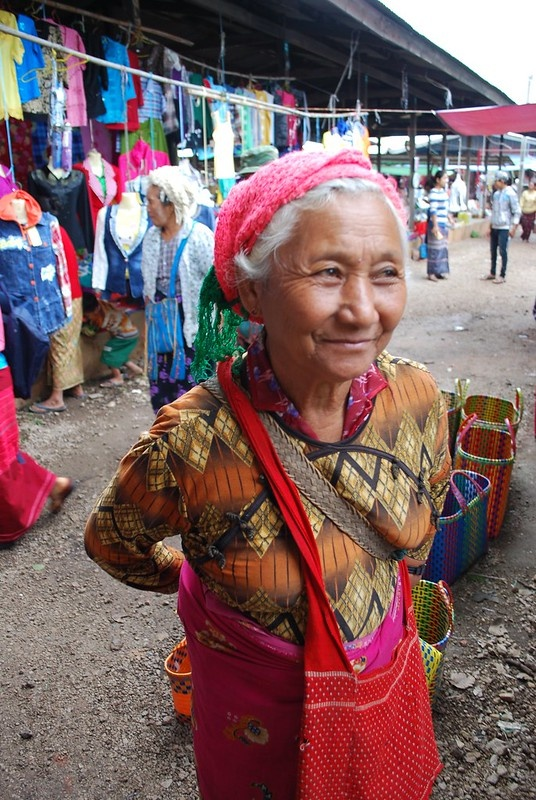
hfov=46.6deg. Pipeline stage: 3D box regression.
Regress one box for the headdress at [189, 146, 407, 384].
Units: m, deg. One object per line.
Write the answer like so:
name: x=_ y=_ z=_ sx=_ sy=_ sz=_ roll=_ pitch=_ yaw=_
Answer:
headdress: x=0.045 y=-0.168 z=1.044 sx=0.392 sy=0.335 sz=0.304 roll=-14 pitch=-8 yaw=39

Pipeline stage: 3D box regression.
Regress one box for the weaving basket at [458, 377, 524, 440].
weaving basket: x=1.303 y=0.075 z=3.712 sx=0.340 sy=0.336 sz=0.351 roll=6 pitch=22 yaw=10
